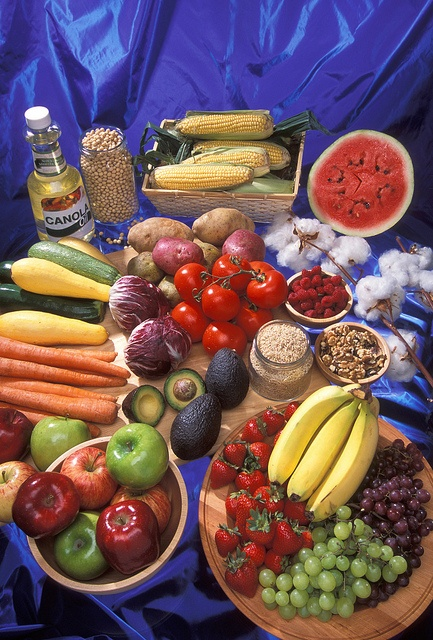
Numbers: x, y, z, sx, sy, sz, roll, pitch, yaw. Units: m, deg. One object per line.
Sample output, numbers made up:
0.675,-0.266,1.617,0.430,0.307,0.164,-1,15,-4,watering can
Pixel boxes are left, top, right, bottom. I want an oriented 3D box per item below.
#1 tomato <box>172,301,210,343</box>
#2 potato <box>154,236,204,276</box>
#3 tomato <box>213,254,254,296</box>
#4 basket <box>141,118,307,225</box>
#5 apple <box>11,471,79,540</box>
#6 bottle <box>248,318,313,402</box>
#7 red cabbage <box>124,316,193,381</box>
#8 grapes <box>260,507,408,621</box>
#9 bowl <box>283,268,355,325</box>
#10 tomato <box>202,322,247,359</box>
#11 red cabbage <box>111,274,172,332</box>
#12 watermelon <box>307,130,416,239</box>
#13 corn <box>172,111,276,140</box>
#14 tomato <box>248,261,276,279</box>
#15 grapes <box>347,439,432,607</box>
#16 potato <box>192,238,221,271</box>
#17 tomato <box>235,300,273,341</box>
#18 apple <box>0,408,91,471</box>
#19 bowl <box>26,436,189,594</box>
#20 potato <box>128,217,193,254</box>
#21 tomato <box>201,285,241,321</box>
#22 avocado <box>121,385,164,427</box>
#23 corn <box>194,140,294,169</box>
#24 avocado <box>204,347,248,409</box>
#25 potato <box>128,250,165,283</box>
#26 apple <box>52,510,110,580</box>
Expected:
-0.112,0.002,2.250,0.167,0.190,0.162,-5,10,-2,tomato
-0.189,-0.304,2.385,0.204,0.150,0.113,-7,57,33,potato
0.069,-0.219,2.280,0.170,0.165,0.160,17,22,-8,tomato
0.022,-0.741,2.819,0.721,0.232,0.611,6,47,4,basket
-0.490,0.552,1.602,0.187,0.227,0.196,16,70,-7,apple
0.219,0.146,2.154,0.302,0.296,0.310,15,66,7,bottle
-0.239,0.120,2.126,0.215,0.229,0.278,11,39,36,red cabbage
0.347,0.883,1.672,0.385,0.257,0.167,-12,50,8,grapes
0.491,-0.067,2.525,0.281,0.105,0.268,-1,59,2,bowl
0.027,0.077,2.158,0.156,0.140,0.150,4,5,5,tomato
-0.354,-0.087,2.318,0.254,0.195,0.191,10,30,11,red cabbage
0.813,-0.777,2.951,0.550,0.543,0.257,-4,35,-2,watermelon
0.059,-1.108,3.024,0.682,0.188,0.199,0,32,8,corn
0.211,-0.217,2.278,0.086,0.079,0.080,2,3,2,tomato
0.588,0.714,1.824,0.230,0.250,0.519,7,57,8,grapes
-0.044,-0.316,2.462,0.112,0.080,0.145,23,12,-8,potato
0.156,0.002,2.273,0.170,0.189,0.157,0,8,26,tomato
-0.586,0.430,1.868,0.258,0.294,0.257,8,11,-14,apple
-0.261,0.705,1.595,0.520,0.198,0.501,0,46,0,bowl
-0.285,-0.420,2.559,0.262,0.145,0.174,1,14,12,potato
0.011,-0.068,2.201,0.151,0.142,0.154,4,24,-28,tomato
-0.292,0.351,2.090,0.171,0.108,0.155,30,70,-20,avocado
0.124,-0.993,3.073,0.692,0.177,0.206,5,20,9,corn
0.049,0.226,2.056,0.174,0.253,0.179,15,29,19,avocado
-0.334,-0.240,2.435,0.133,0.085,0.155,25,12,-26,potato
-0.415,0.705,1.660,0.182,0.167,0.177,21,73,-4,apple
